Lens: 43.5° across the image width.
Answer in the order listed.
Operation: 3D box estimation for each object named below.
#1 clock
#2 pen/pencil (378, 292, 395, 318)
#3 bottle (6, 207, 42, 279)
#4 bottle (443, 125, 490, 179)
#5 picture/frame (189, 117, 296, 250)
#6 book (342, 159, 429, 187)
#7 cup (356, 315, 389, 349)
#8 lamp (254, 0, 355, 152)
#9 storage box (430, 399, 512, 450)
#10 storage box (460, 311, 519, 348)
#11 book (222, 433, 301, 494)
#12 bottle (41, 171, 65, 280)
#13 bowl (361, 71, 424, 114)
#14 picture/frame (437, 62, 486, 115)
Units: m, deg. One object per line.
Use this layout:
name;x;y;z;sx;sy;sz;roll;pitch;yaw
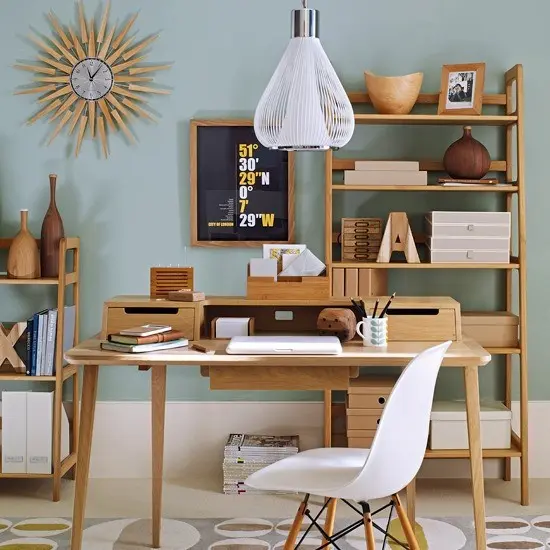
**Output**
clock;-0.874;-0.975;3.307;0.687;0.786;0.067;-1;3;1
pen/pencil;0.439;0.123;2.687;0.014;0.132;0.014;35;52;10
bottle;-1.175;-0.142;3.228;0.144;0.319;0.174;-1;2;-21
bottle;0.877;-0.561;3.176;0.213;0.260;0.220;6;8;30
picture/frame;-0.145;-0.447;3.206;0.614;0.798;0.052;0;2;-2
book;0.504;-0.461;3.111;0.364;0.103;0.025;0;2;0
cup;0.361;0.208;2.532;0.123;0.118;0.080;0;3;-2
lamp;0.099;-0.637;2.268;0.323;0.427;0.206;0;2;6
storage box;0.879;0.685;3.150;0.301;0.156;0.225;-1;1;0
storage box;1.016;0.288;3.206;0.294;0.144;0.225;-2;-14;30
book;-0.059;0.858;3.238;0.358;0.246;0.371;0;0;-3
bottle;-1.027;-0.225;3.187;0.097;0.479;0.223;-1;2;-26
bowl;0.545;-0.824;3.171;0.287;0.211;0.266;-4;3;0
picture/frame;0.847;-0.839;3.101;0.260;0.352;0.027;3;-4;11
